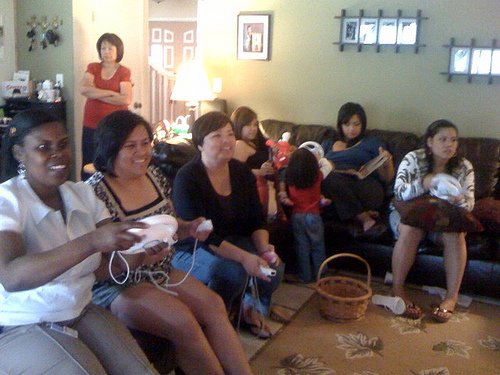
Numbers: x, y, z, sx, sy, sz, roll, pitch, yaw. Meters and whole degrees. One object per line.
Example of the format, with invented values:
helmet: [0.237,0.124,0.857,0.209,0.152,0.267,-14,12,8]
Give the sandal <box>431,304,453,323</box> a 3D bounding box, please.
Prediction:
sandal: [1.266,0.844,2.567,0.120,0.077,0.106,10,18,27]

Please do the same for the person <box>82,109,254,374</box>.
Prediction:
person: [-0.517,0.204,2.345,1.277,1.601,0.690,3,9,23]

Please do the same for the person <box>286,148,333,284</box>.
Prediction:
person: [0.523,0.202,3.102,0.457,0.998,0.352,-9,19,-32]

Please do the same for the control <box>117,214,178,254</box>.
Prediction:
control: [-0.374,0.162,1.430,0.189,0.130,0.040,-18,38,-25]

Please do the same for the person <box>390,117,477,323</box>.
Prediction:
person: [1.311,0.188,2.749,0.602,1.256,0.785,7,17,20]

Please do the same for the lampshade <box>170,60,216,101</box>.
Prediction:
lampshade: [-0.712,-1.276,4.648,0.522,0.458,0.235,2,16,1]

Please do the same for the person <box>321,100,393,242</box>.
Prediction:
person: [0.806,-0.201,3.448,0.762,1.279,0.716,3,-12,4]

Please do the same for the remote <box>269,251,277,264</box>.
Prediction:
remote: [0.125,0.390,2.115,0.017,0.057,0.042,-3,16,37]

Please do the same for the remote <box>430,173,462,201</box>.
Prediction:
remote: [1.366,0.001,2.707,0.185,0.161,0.116,9,18,26]

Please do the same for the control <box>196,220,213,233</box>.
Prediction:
control: [-0.222,0.185,1.872,0.073,0.064,0.057,2,16,1]

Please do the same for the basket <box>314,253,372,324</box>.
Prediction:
basket: [0.688,0.724,2.703,0.394,0.454,0.462,0,18,-8]

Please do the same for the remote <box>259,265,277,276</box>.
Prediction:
remote: [0.090,0.427,2.018,0.085,0.032,0.048,28,56,9]
